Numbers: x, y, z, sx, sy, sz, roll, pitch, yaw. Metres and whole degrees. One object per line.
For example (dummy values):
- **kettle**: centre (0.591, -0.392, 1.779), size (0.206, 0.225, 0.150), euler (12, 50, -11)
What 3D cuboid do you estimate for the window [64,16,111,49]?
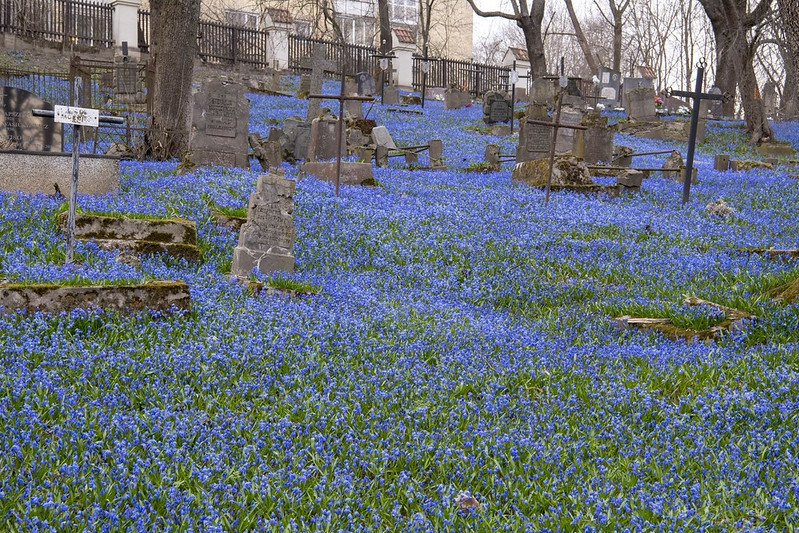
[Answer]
- **window**: centre (-15.831, -11.617, 43.287), size (2.119, 1.710, 0.106), euler (-4, 17, -27)
